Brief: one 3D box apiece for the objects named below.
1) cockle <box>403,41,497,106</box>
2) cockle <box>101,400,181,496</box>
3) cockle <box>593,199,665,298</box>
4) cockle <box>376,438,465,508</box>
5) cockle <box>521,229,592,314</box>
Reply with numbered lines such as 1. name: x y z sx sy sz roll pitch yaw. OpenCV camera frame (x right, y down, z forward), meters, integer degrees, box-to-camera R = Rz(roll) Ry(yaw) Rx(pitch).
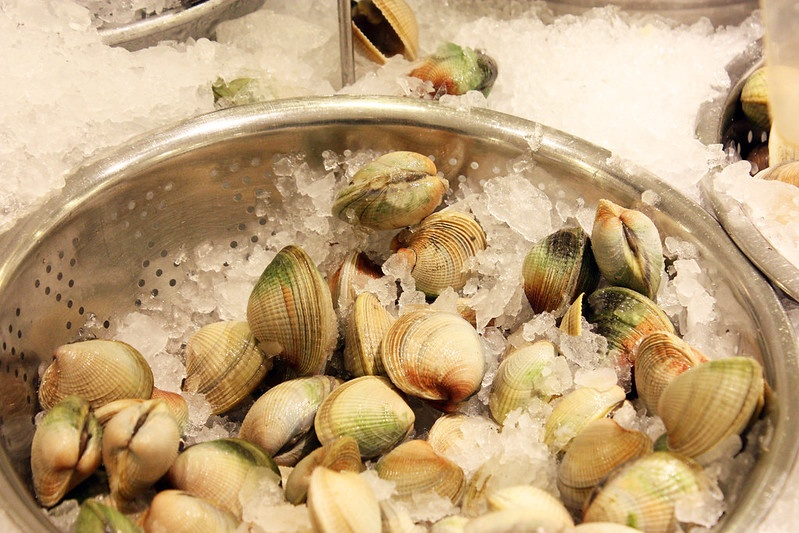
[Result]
1. cockle: 0.123 -0.398 1.465 0.187 0.088 0.162 3 50 -8
2. cockle: -0.396 0.280 1.071 0.121 0.054 0.134 -16 82 -3
3. cockle: 0.395 -0.038 1.252 0.109 0.054 0.170 -31 91 6
4. cockle: 0.033 0.319 1.089 0.125 0.033 0.118 -6 39 -39
5. cockle: 0.278 0.014 1.247 0.131 0.045 0.149 -35 52 33
